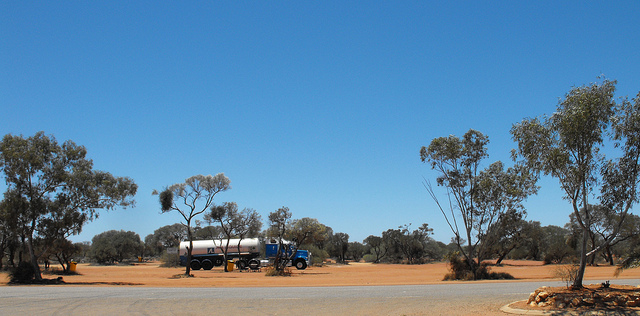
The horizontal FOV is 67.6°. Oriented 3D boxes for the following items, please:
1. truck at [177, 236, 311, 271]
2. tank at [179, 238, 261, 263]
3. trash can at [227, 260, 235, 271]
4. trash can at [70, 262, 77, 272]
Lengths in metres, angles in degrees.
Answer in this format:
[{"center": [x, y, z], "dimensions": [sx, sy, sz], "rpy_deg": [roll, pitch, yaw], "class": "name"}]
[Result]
[{"center": [-13.291, 16.597, 81.781], "dimensions": [20.754, 5.147, 5.081], "rpy_deg": [0, -10, -8], "class": "truck"}, {"center": [-16.377, 16.358, 81.877], "dimensions": [16.522, 4.666, 4.895], "rpy_deg": [-2, -4, 1], "class": "tank"}, {"center": [-14.303, 17.334, 76.775], "dimensions": [1.557, 1.505, 1.287], "rpy_deg": [-1, -12, -2], "class": "trash can"}, {"center": [-38.051, 16.744, 73.690], "dimensions": [1.347, 1.438, 1.002], "rpy_deg": [3, 2, 31], "class": "trash can"}]
